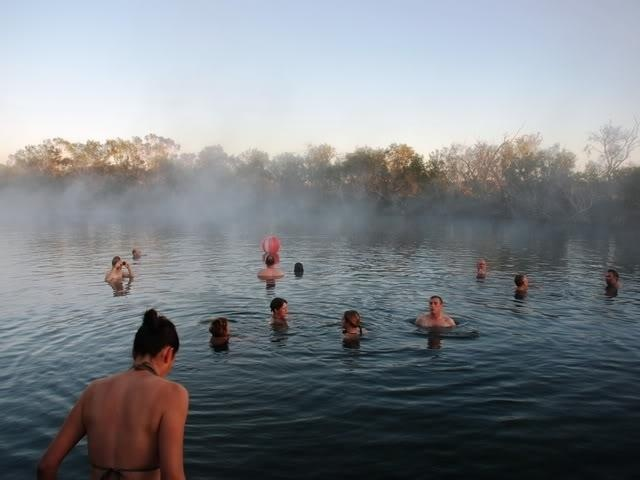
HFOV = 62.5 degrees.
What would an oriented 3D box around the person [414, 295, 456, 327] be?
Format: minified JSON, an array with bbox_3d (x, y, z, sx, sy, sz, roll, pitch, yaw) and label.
[{"bbox_3d":[3.474,2.168,15.799,1.237,0.957,0.646,-1,-10,20],"label":"person"}]

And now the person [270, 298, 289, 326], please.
[{"bbox_3d":[-1.223,2.140,15.734,0.482,0.750,0.569,0,13,-1],"label":"person"}]

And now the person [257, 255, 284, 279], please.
[{"bbox_3d":[-2.429,1.323,25.875,0.991,0.927,0.510,0,-7,0],"label":"person"}]

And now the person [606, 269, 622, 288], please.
[{"bbox_3d":[12.563,1.655,22.616,0.488,0.792,0.683,10,16,38],"label":"person"}]
